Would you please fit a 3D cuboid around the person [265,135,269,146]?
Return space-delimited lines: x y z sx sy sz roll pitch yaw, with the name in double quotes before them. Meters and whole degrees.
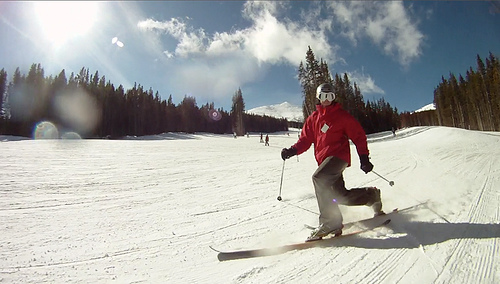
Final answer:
"person" 2.152 -0.198 38.836 0.360 1.134 0.860 1 13 5
